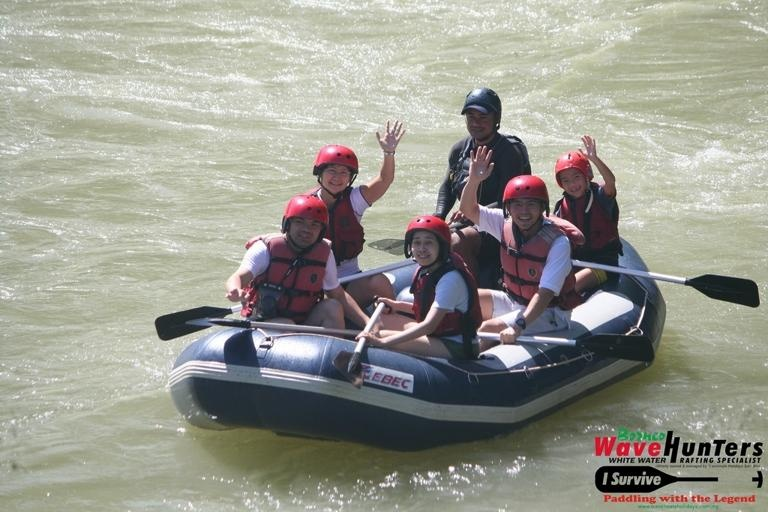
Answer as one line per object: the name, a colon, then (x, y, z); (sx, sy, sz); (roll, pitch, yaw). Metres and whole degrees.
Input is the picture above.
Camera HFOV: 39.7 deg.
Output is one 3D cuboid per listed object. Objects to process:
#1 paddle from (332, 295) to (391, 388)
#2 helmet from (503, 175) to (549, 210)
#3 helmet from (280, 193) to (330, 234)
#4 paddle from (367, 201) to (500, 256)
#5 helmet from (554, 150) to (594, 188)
paddle: (-0.240, 1.068, 12.565); (0.370, 0.101, 1.008); (19, 45, 15)
helmet: (1.718, -0.790, 12.887); (0.397, 0.337, 0.481); (1, 1, 8)
helmet: (-0.945, -0.525, 12.892); (0.426, 0.503, 0.427); (9, 60, -16)
paddle: (0.655, -0.338, 14.259); (1.639, 0.264, 0.216); (-28, 28, 30)
helmet: (2.459, -1.165, 13.928); (0.428, 0.478, 0.375); (-3, 34, 18)
